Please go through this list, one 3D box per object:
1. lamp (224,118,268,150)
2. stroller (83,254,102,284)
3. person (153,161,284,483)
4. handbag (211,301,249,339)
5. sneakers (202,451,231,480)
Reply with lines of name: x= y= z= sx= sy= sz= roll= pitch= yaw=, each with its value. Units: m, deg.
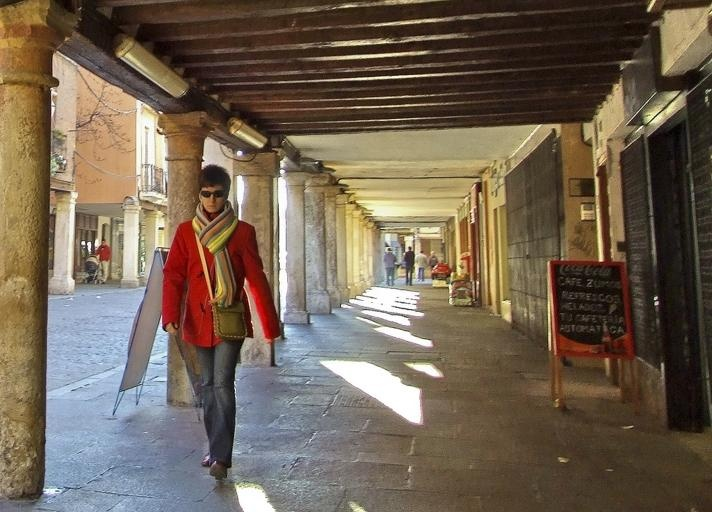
lamp: x=-1.432 y=-1.664 z=7.637 sx=0.219 sy=0.166 sz=0.657 roll=-19 pitch=-16 yaw=31
stroller: x=-11.944 y=0.609 z=26.169 sx=0.584 sy=1.265 sz=0.647 roll=0 pitch=-3 yaw=-16
person: x=-1.035 y=0.473 z=4.423 sx=0.870 sy=2.383 sz=0.296 roll=-1 pitch=-3 yaw=-10
handbag: x=-0.946 y=0.484 z=4.309 sx=0.265 sy=0.272 sz=0.097 roll=1 pitch=-14 yaw=-17
sneakers: x=-1.066 y=1.626 z=4.399 sx=0.122 sy=0.118 sz=0.288 roll=3 pitch=-30 yaw=3
